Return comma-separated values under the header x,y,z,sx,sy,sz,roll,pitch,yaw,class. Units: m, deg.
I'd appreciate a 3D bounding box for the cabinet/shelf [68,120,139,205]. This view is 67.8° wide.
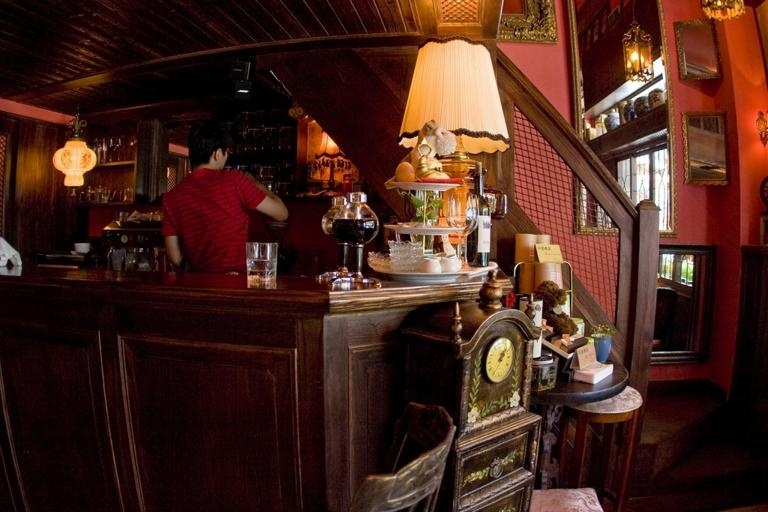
x,y,z,sx,sy,sz,roll,pitch,yaw,class
-3.669,-1.208,7.751,0.885,0.852,0.310,-2,8,17,cabinet/shelf

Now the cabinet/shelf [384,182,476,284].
x,y,z,sx,sy,sz,roll,pitch,yaw,class
0.246,-0.171,3.547,0.516,0.571,0.539,2,8,23,cabinet/shelf

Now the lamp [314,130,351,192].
x,y,z,sx,sy,sz,roll,pitch,yaw,class
-0.521,-1.070,6.402,0.342,0.660,0.655,-1,2,-38,lamp

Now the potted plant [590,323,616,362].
x,y,z,sx,sy,sz,roll,pitch,yaw,class
1.535,0.623,4.043,0.229,0.259,0.105,0,1,-17,potted plant

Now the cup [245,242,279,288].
x,y,z,sx,sy,sz,roll,pitch,yaw,class
-0.713,0.041,3.363,0.163,0.225,0.150,0,1,0,cup

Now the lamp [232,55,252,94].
x,y,z,sx,sy,sz,roll,pitch,yaw,class
-1.386,-1.765,5.619,0.165,0.403,0.187,0,1,2,lamp

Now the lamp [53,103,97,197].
x,y,z,sx,sy,sz,roll,pitch,yaw,class
-3.864,-1.387,7.197,0.495,0.975,0.508,0,-1,24,lamp

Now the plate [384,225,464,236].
x,y,z,sx,sy,sz,roll,pitch,yaw,class
0.251,-0.160,3.496,0.469,0.072,0.358,0,2,4,plate

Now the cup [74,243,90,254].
x,y,z,sx,sy,sz,roll,pitch,yaw,class
-3.640,-0.090,6.951,0.131,0.116,0.171,-4,-7,31,cup

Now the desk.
x,y,z,sx,sy,sz,roll,pitch,yaw,class
1.322,1.199,3.935,0.625,0.964,0.765,1,1,25,desk

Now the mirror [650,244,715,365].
x,y,z,sx,sy,sz,roll,pitch,yaw,class
3.091,0.503,5.946,1.249,1.463,0.099,1,-1,-28,mirror

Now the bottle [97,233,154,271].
x,y,z,sx,sy,sz,roll,pitch,yaw,class
-2.911,-0.046,6.523,0.406,0.289,0.263,2,-2,-11,bottle

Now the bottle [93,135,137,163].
x,y,z,sx,sy,sz,roll,pitch,yaw,class
-3.613,-1.450,7.883,0.746,0.387,0.173,4,-1,19,bottle

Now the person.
x,y,z,sx,sy,sz,roll,pitch,yaw,class
-1.252,-0.452,4.368,0.809,1.134,0.414,1,1,13,person

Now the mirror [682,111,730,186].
x,y,z,sx,sy,sz,roll,pitch,yaw,class
3.361,-1.130,5.992,0.462,0.736,0.093,0,1,-5,mirror

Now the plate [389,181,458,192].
x,y,z,sx,sy,sz,roll,pitch,yaw,class
0.242,-0.416,3.452,0.449,0.047,0.209,0,2,-15,plate

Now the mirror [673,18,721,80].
x,y,z,sx,sy,sz,roll,pitch,yaw,class
3.281,-2.164,6.015,0.606,0.836,0.092,-2,-5,-6,mirror
